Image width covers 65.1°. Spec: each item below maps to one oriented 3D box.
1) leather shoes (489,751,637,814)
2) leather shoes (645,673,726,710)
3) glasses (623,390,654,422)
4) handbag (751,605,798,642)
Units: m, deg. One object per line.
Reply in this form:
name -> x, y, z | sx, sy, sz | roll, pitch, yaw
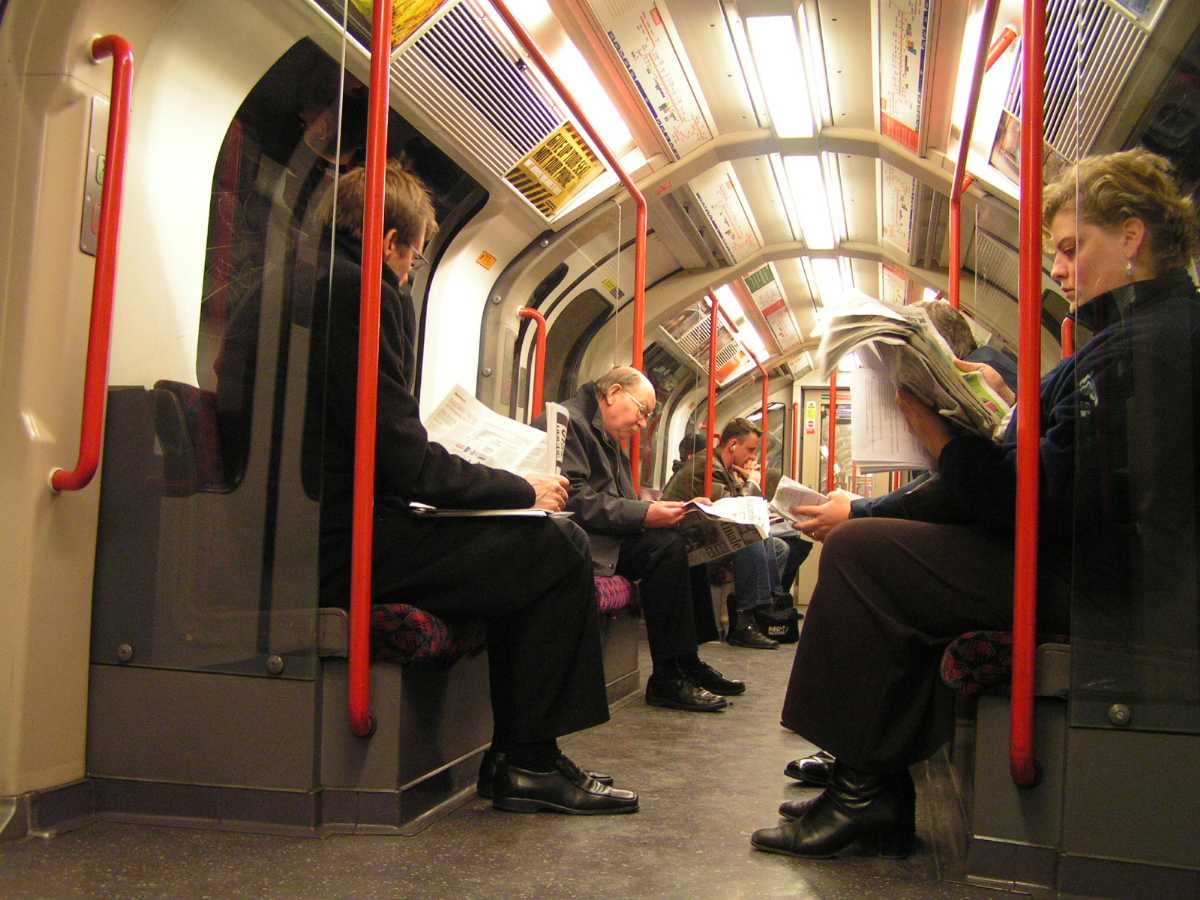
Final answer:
leather shoes -> -0.132, 1.126, 3.223 | 0.515, 0.232, 0.194 | 3, -10, -5
leather shoes -> 0.435, 1.245, 4.944 | 0.351, 0.160, 0.179 | -2, -4, 25
glasses -> 0.213, -0.243, 5.189 | 0.184, 0.192, 0.144 | 3, -6, 24
handbag -> 1.482, 1.466, 8.053 | 0.352, 0.370, 0.295 | 0, -2, 1
